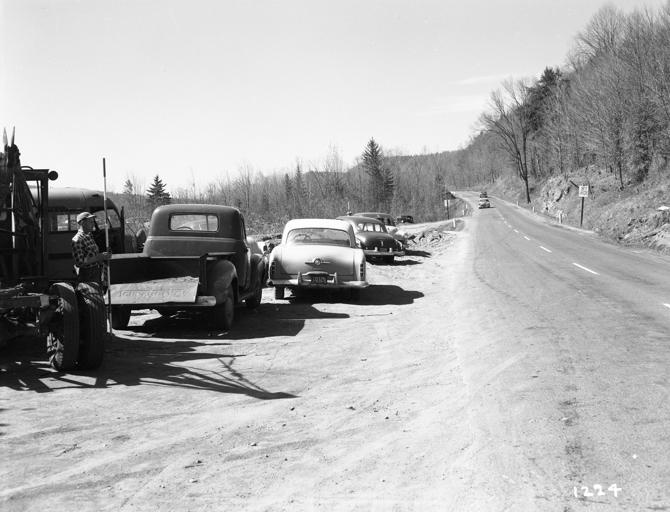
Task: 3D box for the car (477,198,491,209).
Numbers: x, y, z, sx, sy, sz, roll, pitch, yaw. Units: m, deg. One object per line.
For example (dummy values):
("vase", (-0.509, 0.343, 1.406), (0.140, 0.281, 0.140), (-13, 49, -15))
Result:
("car", (24.116, -8.421, 83.004), (1.648, 1.521, 3.199), (2, 8, 11))
